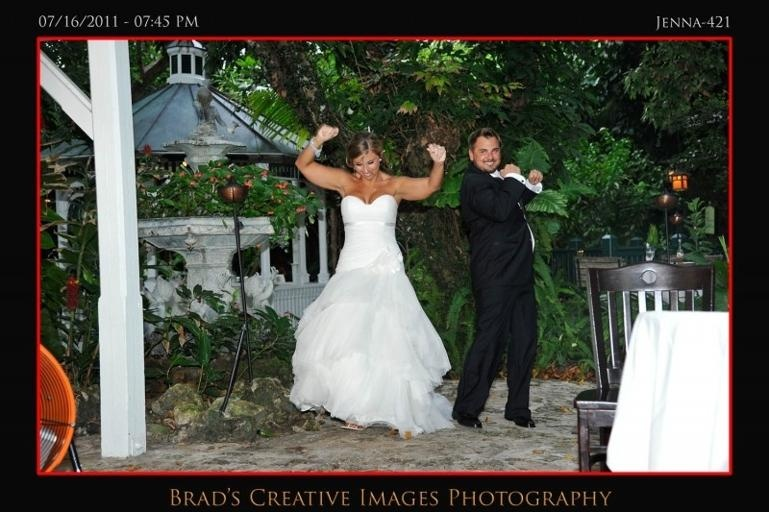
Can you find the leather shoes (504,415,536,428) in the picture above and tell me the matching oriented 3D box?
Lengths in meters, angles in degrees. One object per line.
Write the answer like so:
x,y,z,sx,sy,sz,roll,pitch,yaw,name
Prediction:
1.313,1.600,9.070,0.199,0.083,0.125,8,-8,26,leather shoes
